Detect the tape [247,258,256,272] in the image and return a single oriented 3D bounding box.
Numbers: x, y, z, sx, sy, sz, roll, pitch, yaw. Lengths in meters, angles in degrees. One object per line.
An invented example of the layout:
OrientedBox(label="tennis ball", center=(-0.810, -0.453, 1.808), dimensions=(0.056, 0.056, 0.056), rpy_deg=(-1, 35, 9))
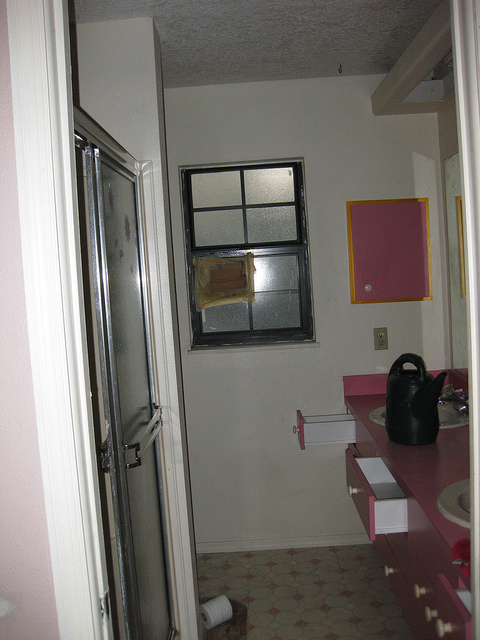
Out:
OrientedBox(label="tape", center=(0.063, -0.291, 2.872), dimensions=(0.012, 0.075, 0.046), rpy_deg=(-1, 23, 40))

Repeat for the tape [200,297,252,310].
OrientedBox(label="tape", center=(-0.073, -0.095, 2.905), dimensions=(0.280, 0.051, 0.067), rpy_deg=(-4, 4, 2))

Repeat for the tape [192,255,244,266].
OrientedBox(label="tape", center=(-0.116, -0.326, 2.882), dimensions=(0.276, 0.040, 0.021), rpy_deg=(-5, 3, -4))

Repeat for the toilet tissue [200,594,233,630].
OrientedBox(label="toilet tissue", center=(-0.098, 1.225, 2.263), dimensions=(0.112, 0.121, 0.098), rpy_deg=(-6, -2, -43))
